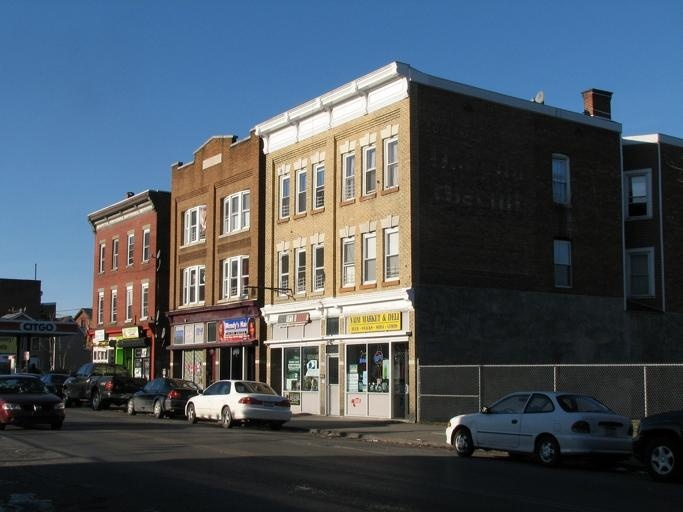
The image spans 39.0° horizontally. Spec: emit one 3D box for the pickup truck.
[{"bbox_3d":[-11.320,6.150,45.684,2.121,1.636,4.419,5,-7,-33],"label":"pickup truck"}]

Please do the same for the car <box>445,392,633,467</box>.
[{"bbox_3d":[5.343,4.873,27.304,2.188,1.510,4.360,7,-8,-36],"label":"car"}]

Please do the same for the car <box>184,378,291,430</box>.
[{"bbox_3d":[-3.961,5.436,35.474,1.686,1.128,3.640,5,-6,-32],"label":"car"}]
